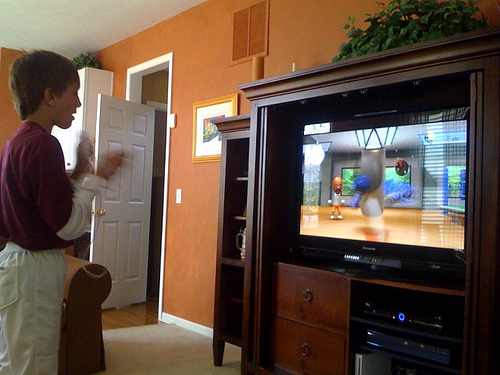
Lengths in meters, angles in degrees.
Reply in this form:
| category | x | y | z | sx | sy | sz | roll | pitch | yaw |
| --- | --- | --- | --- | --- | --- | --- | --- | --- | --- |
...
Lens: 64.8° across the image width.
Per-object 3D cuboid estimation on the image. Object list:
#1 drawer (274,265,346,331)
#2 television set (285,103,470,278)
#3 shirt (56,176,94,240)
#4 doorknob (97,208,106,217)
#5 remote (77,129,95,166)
| category | x | y | z | sx | sy | sz | roll | pitch | yaw |
| --- | --- | --- | --- | --- | --- | --- | --- | --- | --- |
| drawer | 0.429 | 0.677 | 2.466 | 0.543 | 0.349 | 0.300 | 0 | -10 | 41 |
| television set | 0.795 | 0.026 | 2.365 | 1.032 | 0.925 | 0.114 | 0 | -7 | 37 |
| shirt | -0.714 | 0.085 | 1.656 | 0.163 | 0.235 | 0.199 | 3 | -1 | 14 |
| doorknob | -1.563 | 0.265 | 4.169 | 0.078 | 0.102 | 0.035 | 4 | 4 | 24 |
| remote | -0.731 | -0.180 | 1.744 | 0.048 | 0.142 | 0.097 | -4 | -4 | -38 |
